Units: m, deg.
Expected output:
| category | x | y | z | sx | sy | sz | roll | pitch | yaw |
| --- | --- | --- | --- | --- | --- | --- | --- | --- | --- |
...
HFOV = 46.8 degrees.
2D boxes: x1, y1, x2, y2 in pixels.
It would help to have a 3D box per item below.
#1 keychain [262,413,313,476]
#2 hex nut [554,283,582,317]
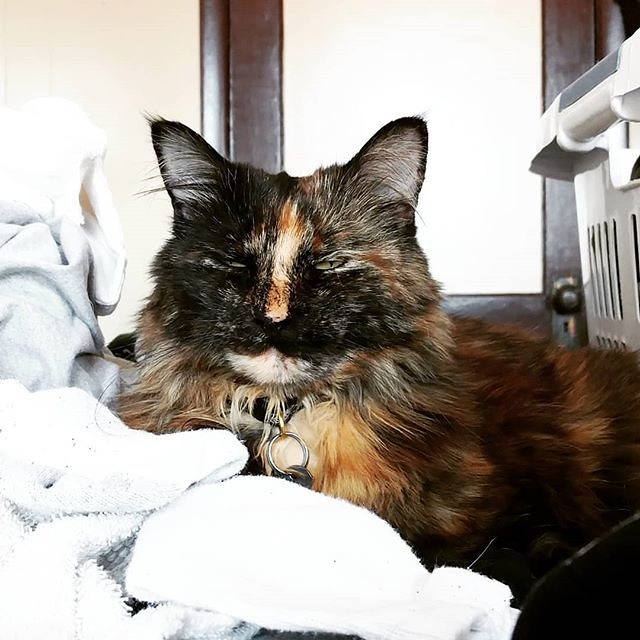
| category | x | y | z | sx | sy | sz | roll | pitch | yaw |
| --- | --- | --- | --- | --- | --- | --- | --- | --- | --- |
| keychain | -0.049 | 0.144 | 0.881 | 0.037 | 0.033 | 0.100 | -1 | 36 | -26 |
| hex nut | 0.476 | -0.034 | 1.430 | 0.059 | 0.062 | 0.036 | -2 | -18 | 6 |
